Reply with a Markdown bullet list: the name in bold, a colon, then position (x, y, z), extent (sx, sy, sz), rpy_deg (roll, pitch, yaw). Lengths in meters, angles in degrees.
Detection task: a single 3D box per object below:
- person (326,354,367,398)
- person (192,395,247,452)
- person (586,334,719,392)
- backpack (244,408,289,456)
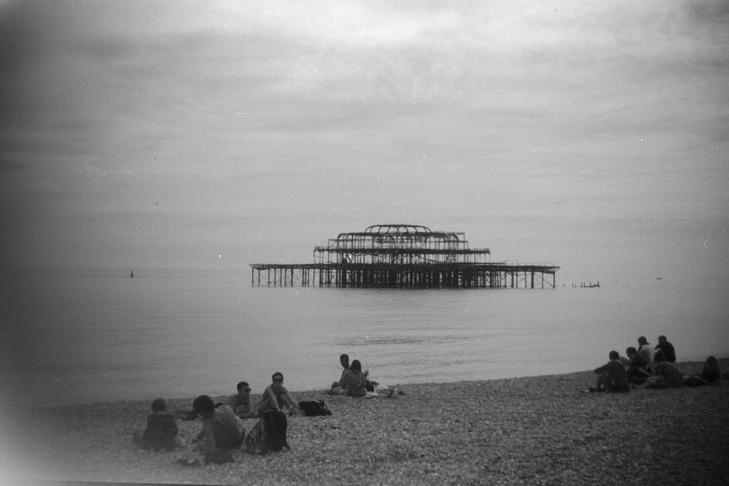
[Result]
- **person**: position (-0.411, 3.029, 25.116), extent (0.911, 1.136, 0.955), rpy_deg (-3, -11, 32)
- **person**: position (-2.967, 3.635, 22.564), extent (0.984, 1.182, 0.627), rpy_deg (-1, 4, -9)
- **person**: position (6.571, 2.741, 25.201), extent (2.965, 1.239, 0.908), rpy_deg (0, 4, -3)
- **backpack**: position (-1.978, 3.910, 22.703), extent (0.986, 0.742, 0.413), rpy_deg (-7, -26, -3)
